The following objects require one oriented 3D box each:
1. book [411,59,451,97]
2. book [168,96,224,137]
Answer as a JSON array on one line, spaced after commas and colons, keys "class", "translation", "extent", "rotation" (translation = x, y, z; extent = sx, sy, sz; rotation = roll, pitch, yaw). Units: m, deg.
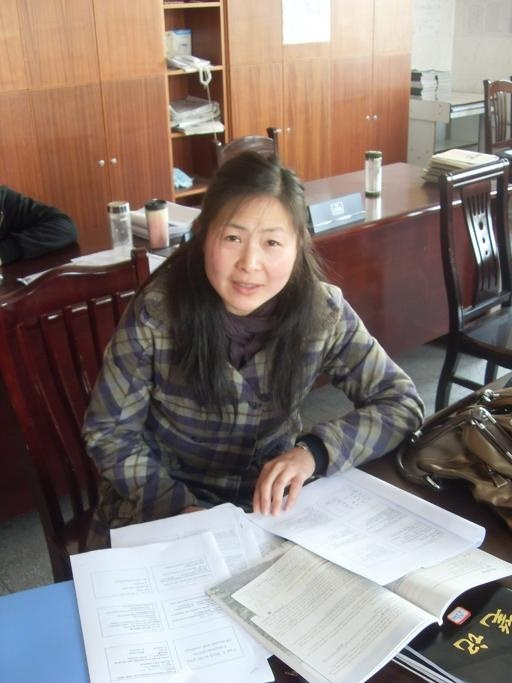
[{"class": "book", "translation": [1.631, -2.438, 5.012], "extent": [0.288, 0.185, 0.403], "rotation": [19, 34, 34]}, {"class": "book", "translation": [-0.440, -1.593, 3.762], "extent": [0.338, 0.120, 0.327], "rotation": [-18, 32, -27]}]
